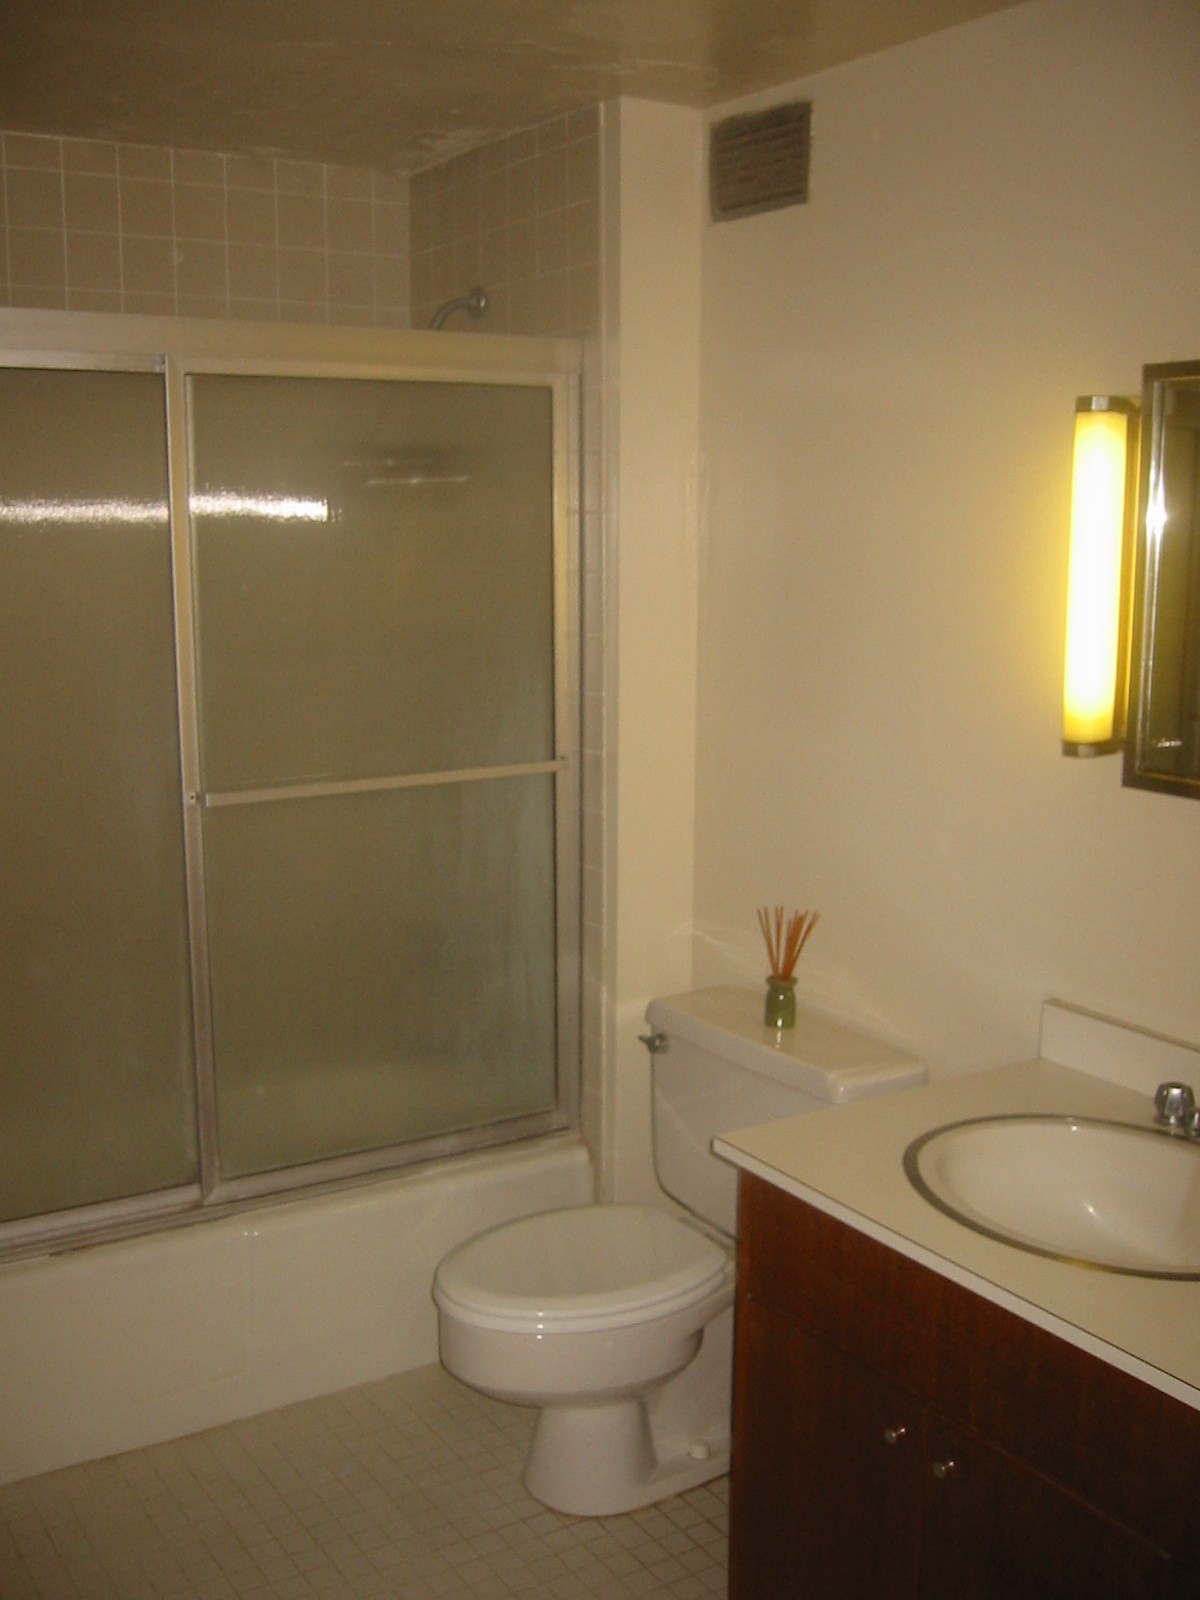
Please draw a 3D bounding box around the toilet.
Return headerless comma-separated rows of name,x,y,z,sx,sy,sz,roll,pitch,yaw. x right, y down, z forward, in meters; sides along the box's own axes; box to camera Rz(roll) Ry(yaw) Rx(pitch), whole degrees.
toilet,0.080,0.725,2.062,0.588,0.753,0.465,-3,15,-29
